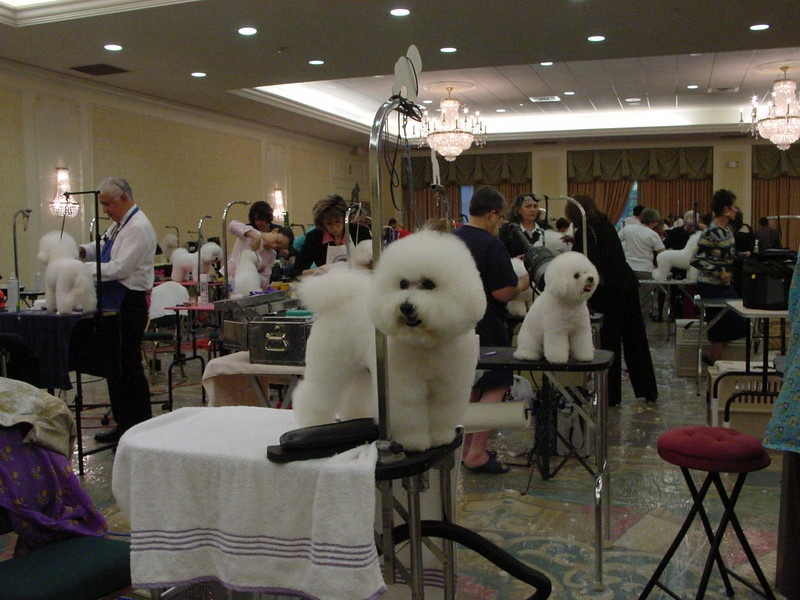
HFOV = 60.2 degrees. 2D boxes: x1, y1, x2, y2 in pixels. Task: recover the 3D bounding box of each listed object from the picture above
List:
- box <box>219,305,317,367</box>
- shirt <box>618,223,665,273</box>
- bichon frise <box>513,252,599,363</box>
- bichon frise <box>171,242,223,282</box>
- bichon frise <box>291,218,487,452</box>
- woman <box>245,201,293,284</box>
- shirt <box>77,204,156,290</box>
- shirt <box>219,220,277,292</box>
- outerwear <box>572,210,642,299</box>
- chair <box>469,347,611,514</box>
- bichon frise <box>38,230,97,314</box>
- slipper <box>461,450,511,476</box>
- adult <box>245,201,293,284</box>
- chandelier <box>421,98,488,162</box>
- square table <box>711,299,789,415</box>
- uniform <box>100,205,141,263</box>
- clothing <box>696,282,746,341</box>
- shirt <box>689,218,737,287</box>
[{"bbox_3d":[-0.756,0.209,4.001,0.439,0.228,0.366,0,3,9],"label":"box"},{"bbox_3d":[3.190,-0.696,9.254,0.602,0.625,0.345,12,14,37],"label":"shirt"},{"bbox_3d":[0.885,0.051,3.937,0.447,0.603,0.507,0,1,-26],"label":"bichon frise"},{"bbox_3d":[-2.581,-0.449,8.713,0.673,0.469,0.267,1,0,22],"label":"bichon frise"},{"bbox_3d":[-0.039,0.127,2.359,0.661,0.721,0.345,2,6,32],"label":"bichon frise"},{"bbox_3d":[-1.257,-0.476,6.657,0.396,0.880,0.363,-12,2,-36],"label":"woman"},{"bbox_3d":[-2.199,-0.333,5.447,0.566,0.998,0.670,4,10,-26],"label":"shirt"},{"bbox_3d":[-1.469,-0.462,6.817,0.426,0.644,0.444,22,21,41],"label":"shirt"},{"bbox_3d":[1.811,-0.388,6.072,0.470,0.611,0.429,-22,7,-40],"label":"outerwear"},{"bbox_3d":[0.802,0.603,3.889,0.716,0.888,0.948,1,1,28],"label":"chair"},{"bbox_3d":[-2.357,-0.199,4.921,0.360,0.574,0.623,-3,6,-29],"label":"bichon frise"},{"bbox_3d":[0.599,1.123,4.748,0.261,0.108,0.136,-1,-1,7],"label":"slipper"},{"bbox_3d":[-1.261,-0.474,6.642,0.392,0.844,0.355,-11,-4,-39],"label":"adult"},{"bbox_3d":[0.824,-2.812,11.565,1.123,1.050,1.155,-8,25,-12],"label":"chandelier"},{"bbox_3d":[2.508,0.417,5.025,0.458,0.704,0.747,0,6,7],"label":"square table"},{"bbox_3d":[-2.133,-0.526,5.229,0.161,0.464,0.337,26,-11,-37],"label":"uniform"},{"bbox_3d":[3.023,0.174,6.669,0.475,0.321,0.702,0,3,15],"label":"clothing"},{"bbox_3d":[3.113,-0.447,6.805,0.525,0.666,0.390,-7,5,-31],"label":"shirt"}]
